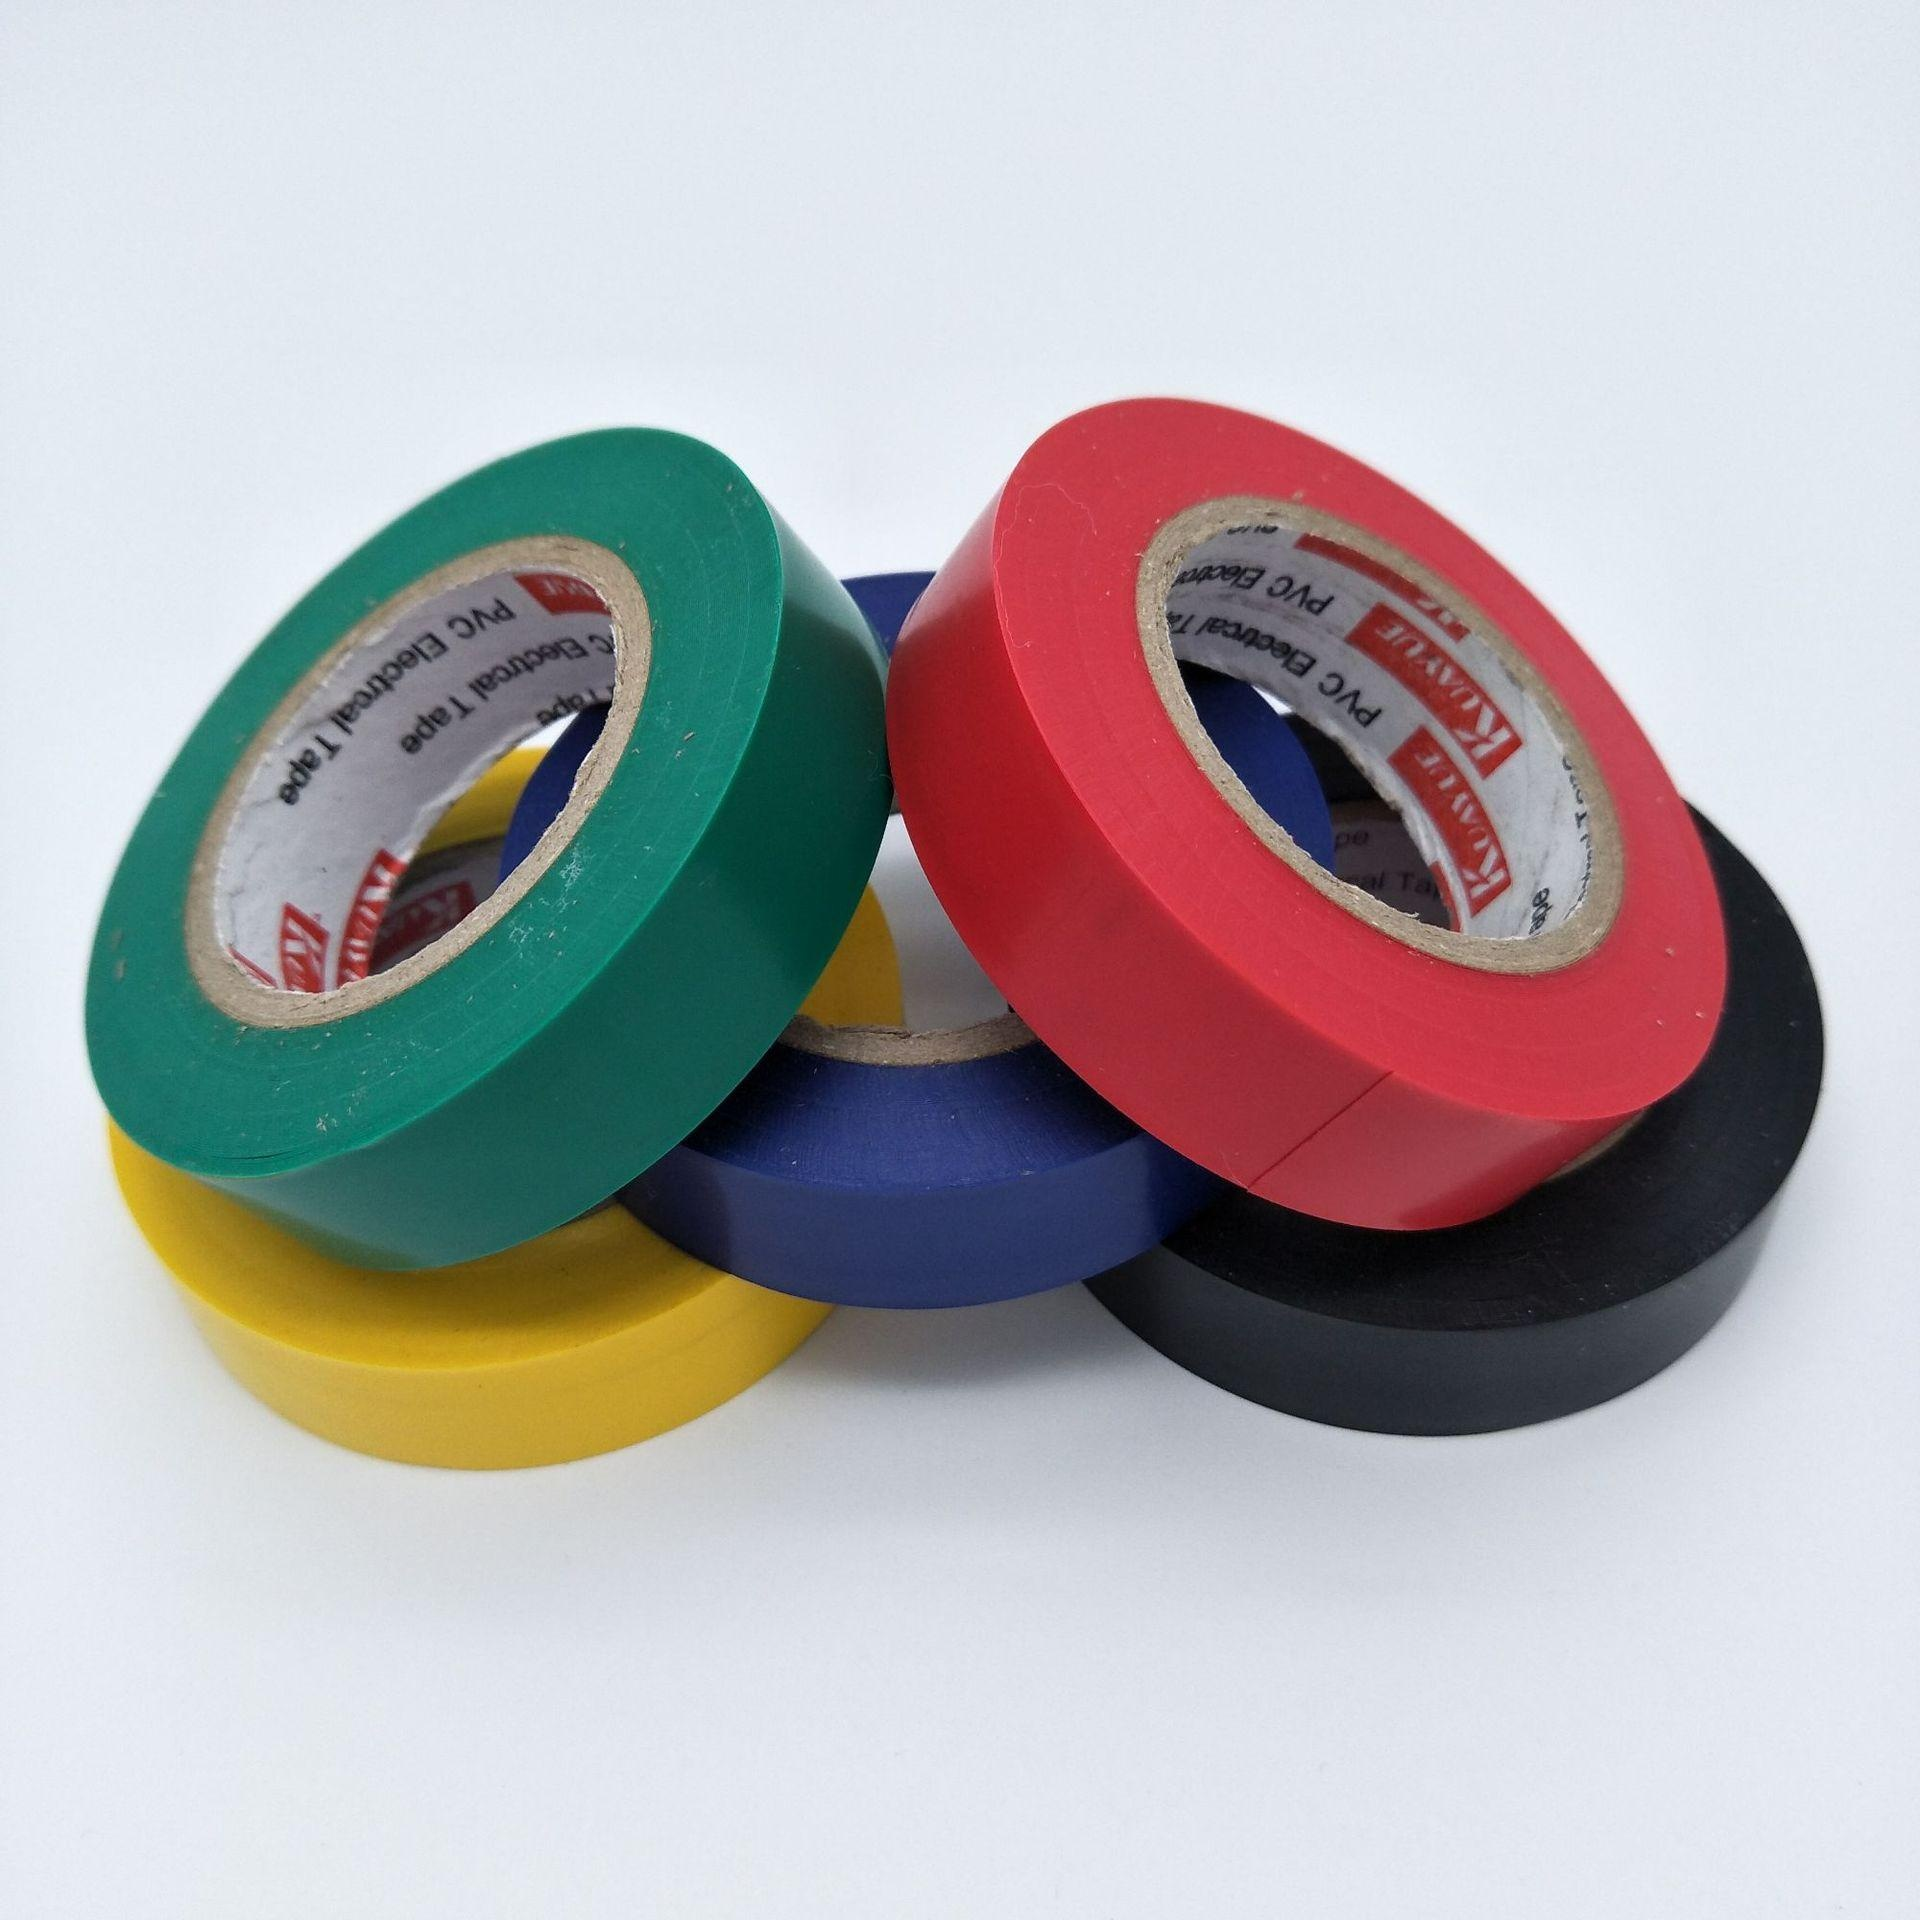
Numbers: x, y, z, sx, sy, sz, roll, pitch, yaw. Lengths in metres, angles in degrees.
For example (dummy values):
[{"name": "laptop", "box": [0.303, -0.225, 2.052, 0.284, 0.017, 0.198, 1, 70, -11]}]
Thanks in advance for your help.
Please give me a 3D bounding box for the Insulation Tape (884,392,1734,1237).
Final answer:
[{"name": "Insulation Tape", "box": [0.285, -0.128, 1.868, 0.565, 0.628, 0.614, 4, 10, 31]}]
